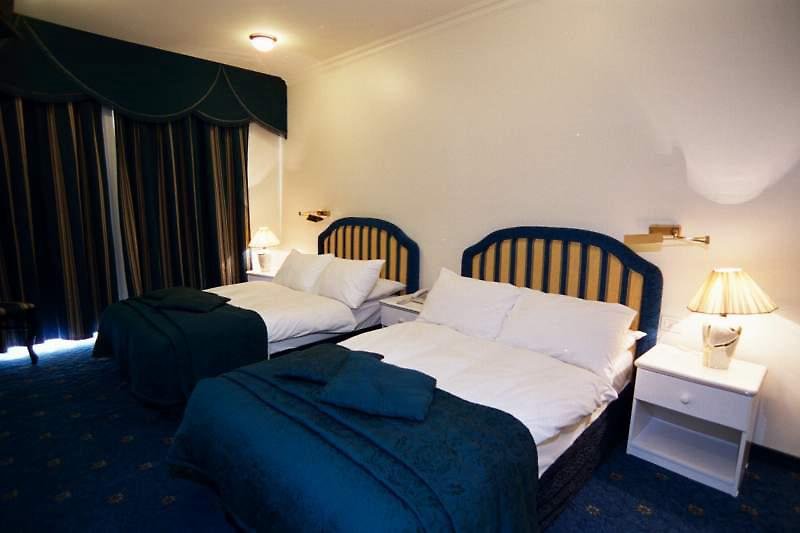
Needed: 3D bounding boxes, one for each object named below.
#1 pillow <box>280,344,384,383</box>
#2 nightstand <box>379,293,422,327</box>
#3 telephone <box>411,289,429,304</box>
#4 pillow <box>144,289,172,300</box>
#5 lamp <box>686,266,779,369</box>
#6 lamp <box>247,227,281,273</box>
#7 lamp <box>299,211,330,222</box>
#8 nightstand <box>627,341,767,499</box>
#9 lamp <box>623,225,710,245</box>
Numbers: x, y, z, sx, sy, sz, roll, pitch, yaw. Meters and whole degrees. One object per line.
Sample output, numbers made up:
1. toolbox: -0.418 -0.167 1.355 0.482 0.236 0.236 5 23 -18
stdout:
1. pillow: -0.560 0.688 3.754 0.344 0.088 0.362 9 12 41
2. nightstand: 0.031 0.409 5.178 0.342 0.217 0.334 -7 10 -43
3. telephone: 0.218 0.306 5.291 0.120 0.043 0.124 -18 24 -32
4. pillow: -2.275 0.265 4.996 0.175 0.056 0.181 1 10 21
5. lamp: 2.469 0.410 3.908 0.625 0.748 0.495 3 2 -22
6. lamp: -1.734 -0.233 6.906 0.515 0.726 0.521 -3 9 -31
7. lamp: -1.077 -0.646 6.580 0.194 0.078 0.276 -6 11 -40
8. nightstand: 2.263 1.118 4.037 0.790 0.842 0.584 11 18 40
9. lamp: 2.097 -0.246 4.155 0.408 0.152 0.217 0 6 14
